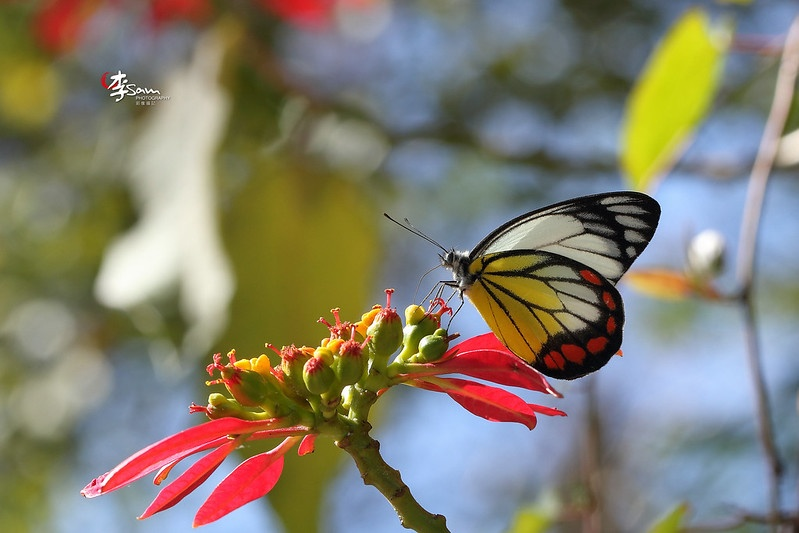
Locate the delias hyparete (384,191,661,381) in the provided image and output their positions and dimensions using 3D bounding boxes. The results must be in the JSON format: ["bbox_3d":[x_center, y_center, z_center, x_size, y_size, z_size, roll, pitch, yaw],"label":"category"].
[{"bbox_3d":[0.235,0.035,1.606,0.388,0.398,0.216,20,82,-26],"label":"delias hyparete"}]
